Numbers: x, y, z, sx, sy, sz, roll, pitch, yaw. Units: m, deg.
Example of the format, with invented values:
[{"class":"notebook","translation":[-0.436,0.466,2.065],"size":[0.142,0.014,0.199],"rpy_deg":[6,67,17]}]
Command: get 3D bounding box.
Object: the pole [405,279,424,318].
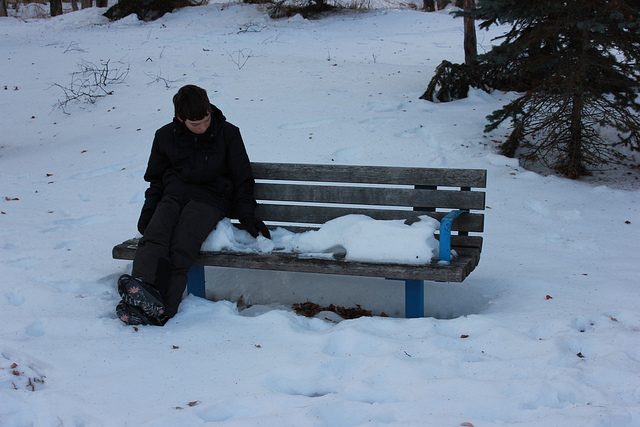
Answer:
[{"class":"pole","translation":[0.963,0.916,6.507],"size":[0.128,0.128,0.557],"rpy_deg":[10,36,1]}]
